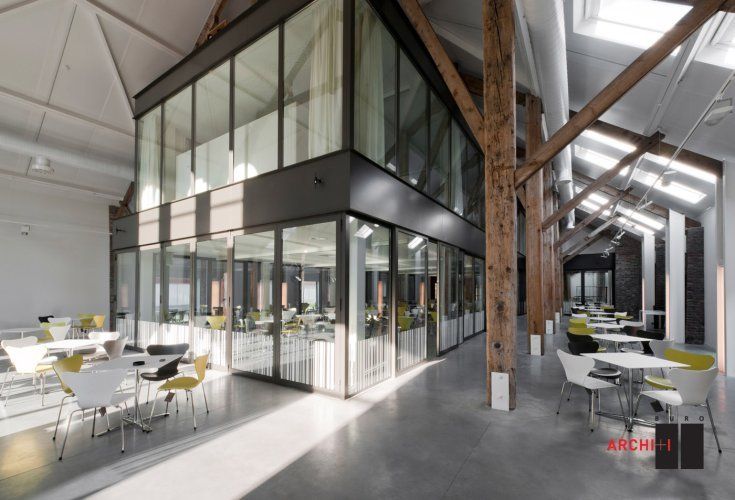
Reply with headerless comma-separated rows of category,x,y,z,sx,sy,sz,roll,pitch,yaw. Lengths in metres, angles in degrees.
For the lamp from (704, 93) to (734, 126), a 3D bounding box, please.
lamp,6.238,-2.509,8.197,0.348,0.520,0.760,9,15,33
